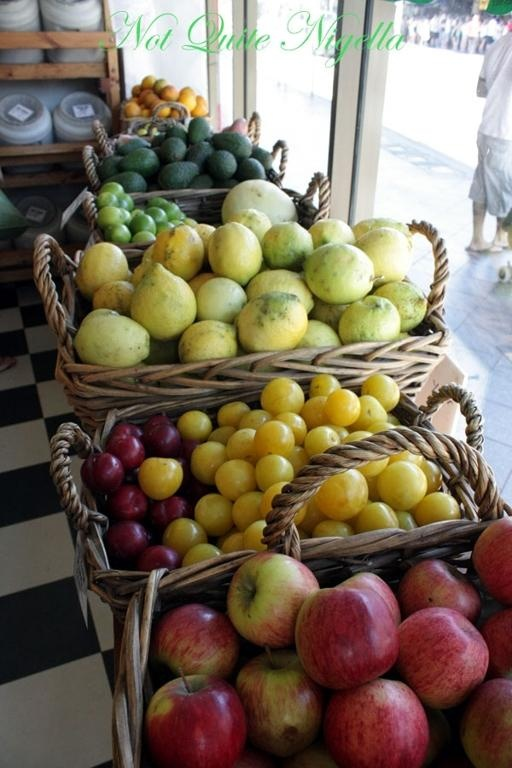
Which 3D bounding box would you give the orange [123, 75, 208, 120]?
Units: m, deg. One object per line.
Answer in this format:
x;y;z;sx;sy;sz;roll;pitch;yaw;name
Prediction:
-0.382;-1.173;2.566;0.408;0.136;0.353;-14;42;-26;orange

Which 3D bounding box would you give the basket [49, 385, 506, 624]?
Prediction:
-0.033;0.057;0.814;0.545;0.275;0.354;-11;32;-21;basket
